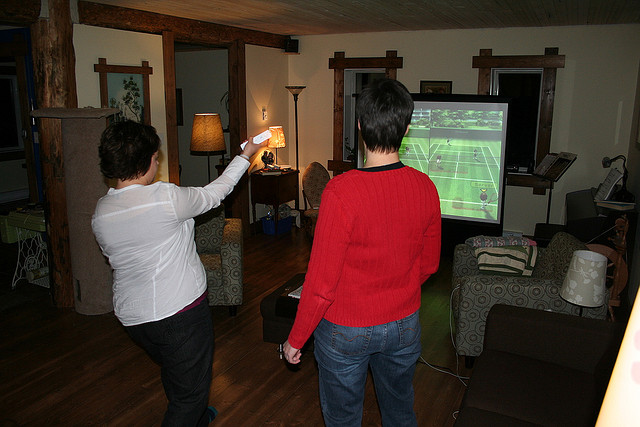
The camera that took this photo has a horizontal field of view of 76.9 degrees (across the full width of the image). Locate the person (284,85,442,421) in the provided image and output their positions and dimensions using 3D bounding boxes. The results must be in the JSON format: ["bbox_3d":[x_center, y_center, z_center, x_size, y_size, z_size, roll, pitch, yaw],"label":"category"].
[{"bbox_3d":[0.264,0.304,2.076,0.880,1.836,0.278,-7,16,-25],"label":"person"}]

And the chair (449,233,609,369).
[{"bbox_3d":[1.801,0.926,3.935,1.261,1.297,1.357,6,17,20],"label":"chair"}]

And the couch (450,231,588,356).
[{"bbox_3d":[1.669,1.059,4.131,1.325,0.987,1.400,9,-19,-15],"label":"couch"}]

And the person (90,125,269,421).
[{"bbox_3d":[-0.927,0.452,2.546,0.829,1.947,0.315,-4,15,-17],"label":"person"}]
